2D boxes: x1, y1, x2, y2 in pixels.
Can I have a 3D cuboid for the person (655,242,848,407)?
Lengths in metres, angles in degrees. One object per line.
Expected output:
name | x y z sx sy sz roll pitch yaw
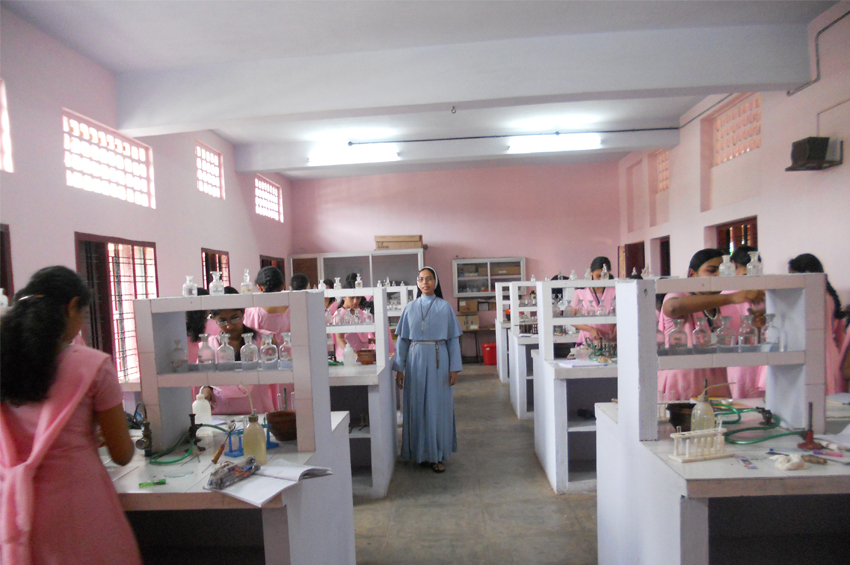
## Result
person | 2.586 0.409 5.186 0.924 1.445 1.531 1 -17 5

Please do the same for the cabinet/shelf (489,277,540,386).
cabinet/shelf | 1.242 0.717 9.308 0.837 1.556 1.622 0 1 1

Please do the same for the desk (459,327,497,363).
desk | 0.901 1.143 12.339 0.841 0.802 0.625 0 -3 0

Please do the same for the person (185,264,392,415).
person | -1.113 0.514 5.546 1.561 1.484 0.804 0 -3 -2

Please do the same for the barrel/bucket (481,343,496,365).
barrel/bucket | 1.177 1.248 11.692 0.303 0.463 0.310 0 -2 0

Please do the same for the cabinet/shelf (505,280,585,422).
cabinet/shelf | 1.294 0.765 7.172 0.835 1.612 1.665 0 1 0

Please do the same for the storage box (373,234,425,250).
storage box | -0.485 -0.731 11.941 0.820 0.317 0.333 -2 -4 -4

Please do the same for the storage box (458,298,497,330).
storage box | 0.948 0.579 12.081 0.545 0.508 0.184 0 -3 -5

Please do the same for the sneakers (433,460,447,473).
sneakers | 0.139 1.804 6.539 0.113 0.076 0.250 -1 -4 1

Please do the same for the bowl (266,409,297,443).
bowl | -0.989 0.985 4.617 0.206 0.149 0.209 0 -5 0

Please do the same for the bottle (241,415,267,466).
bottle | -1.117 1.034 4.368 0.147 0.318 0.152 -2 -3 0

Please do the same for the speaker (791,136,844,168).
speaker | 3.954 -1.291 6.772 0.327 0.219 0.340 1 -2 -7

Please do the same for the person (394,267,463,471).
person | 0.028 0.861 6.610 0.651 1.995 0.227 -2 -3 -1
